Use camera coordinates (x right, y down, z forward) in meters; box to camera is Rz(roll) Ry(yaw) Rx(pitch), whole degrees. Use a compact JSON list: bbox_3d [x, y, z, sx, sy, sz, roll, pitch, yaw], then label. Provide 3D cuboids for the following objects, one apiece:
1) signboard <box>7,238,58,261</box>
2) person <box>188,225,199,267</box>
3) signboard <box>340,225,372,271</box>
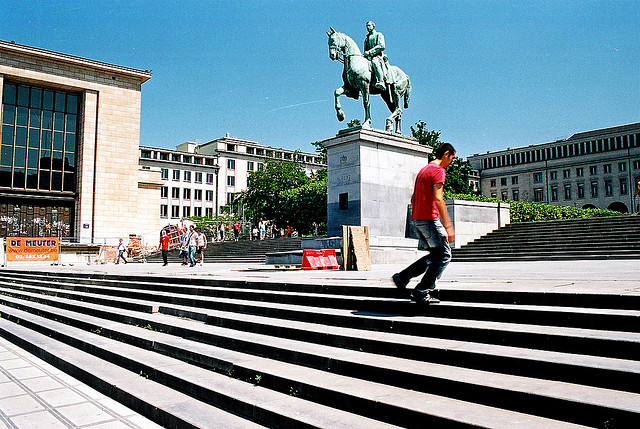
[{"bbox_3d":[-13.858,1.678,26.788,0.737,1.114,2.576,-2,-3,18],"label":"signboard"},{"bbox_3d":[-5.263,1.311,22.957,0.382,1.564,1.471,0,-3,-13],"label":"person"},{"bbox_3d":[1.013,0.965,16.384,0.825,1.276,1.031,-1,-3,3],"label":"signboard"}]
